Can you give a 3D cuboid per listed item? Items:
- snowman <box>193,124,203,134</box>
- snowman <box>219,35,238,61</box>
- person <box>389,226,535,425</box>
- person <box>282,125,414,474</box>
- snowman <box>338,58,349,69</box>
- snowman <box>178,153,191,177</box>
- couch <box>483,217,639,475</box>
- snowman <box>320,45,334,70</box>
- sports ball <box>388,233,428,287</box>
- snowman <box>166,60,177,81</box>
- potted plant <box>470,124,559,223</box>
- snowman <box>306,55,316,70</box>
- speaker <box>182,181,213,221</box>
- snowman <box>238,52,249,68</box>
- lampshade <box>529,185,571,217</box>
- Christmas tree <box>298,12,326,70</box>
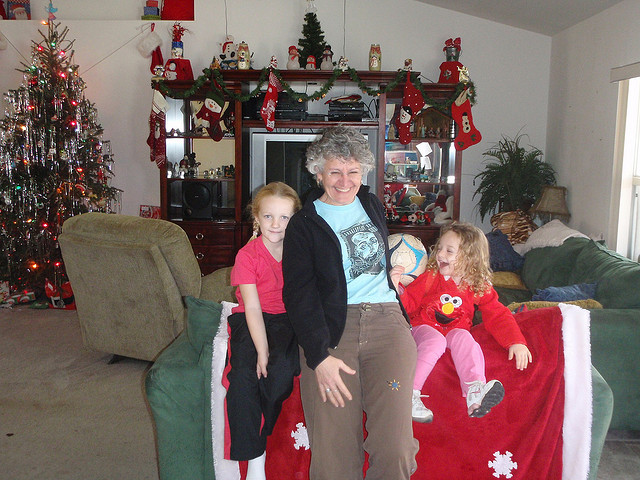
[{"bbox_3d":[-1.212,-1.095,5.405,0.099,0.098,0.076,8,-17,-40],"label":"snowman"},{"bbox_3d":[-0.912,-1.915,5.365,0.171,0.324,0.436,-3,8,-8],"label":"snowman"},{"bbox_3d":[0.669,0.356,2.675,0.627,0.941,0.792,5,0,-5],"label":"person"},{"bbox_3d":[0.128,0.272,2.442,0.589,1.578,0.600,-2,8,-4],"label":"person"},{"bbox_3d":[0.227,-1.649,5.103,0.104,0.149,0.058,-2,-8,-15],"label":"snowman"},{"bbox_3d":[-1.373,-0.768,5.487,0.124,0.242,0.313,-3,8,-8],"label":"snowman"},{"bbox_3d":[1.339,0.587,2.922,0.427,0.544,1.335,-1,19,14],"label":"couch"},{"bbox_3d":[0.067,-1.728,5.105,0.114,0.214,0.071,-2,8,0],"label":"snowman"},{"bbox_3d":[0.430,0.082,2.832,0.237,0.284,0.244,0,-36,0],"label":"sports ball"},{"bbox_3d":[-1.426,-1.637,5.166,0.100,0.185,0.061,-1,8,2],"label":"snowman"},{"bbox_3d":[1.854,-0.634,5.062,0.689,0.833,0.641,1,10,6],"label":"potted plant"},{"bbox_3d":[-0.084,-1.675,5.068,0.092,0.151,0.111,-2,8,-1],"label":"snowman"},{"bbox_3d":[-1.107,-0.396,5.467,0.362,0.531,0.360,0,5,1],"label":"speaker"},{"bbox_3d":[-0.723,-1.693,5.073,0.084,0.120,0.112,0,-5,-5],"label":"snowman"},{"bbox_3d":[1.968,-0.334,4.576,0.276,0.220,0.275,0,9,18],"label":"lampshade"},{"bbox_3d":[-0.066,-1.857,5.135,0.234,0.533,0.167,7,11,8],"label":"Christmas tree"}]
